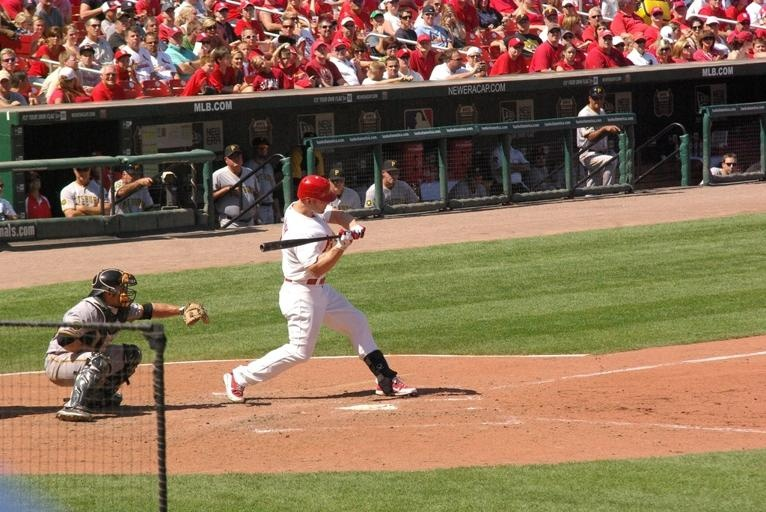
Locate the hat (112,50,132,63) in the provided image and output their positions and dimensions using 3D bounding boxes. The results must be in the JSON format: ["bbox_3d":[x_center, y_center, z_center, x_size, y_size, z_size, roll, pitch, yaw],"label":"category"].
[{"bbox_3d":[-4.438,-3.405,29.557,0.253,0.211,0.283,-3,2,-1],"label":"hat"}]

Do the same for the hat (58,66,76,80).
[{"bbox_3d":[-5.211,-3.054,28.769,0.284,0.189,0.223,-4,2,-18],"label":"hat"}]

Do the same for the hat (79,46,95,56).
[{"bbox_3d":[-5.056,-3.537,29.627,0.232,0.178,0.332,-4,2,-11],"label":"hat"}]

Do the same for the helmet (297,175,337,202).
[{"bbox_3d":[-0.896,-0.873,22.344,0.378,0.359,0.482,-3,2,4],"label":"helmet"}]

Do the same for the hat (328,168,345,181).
[{"bbox_3d":[-0.828,-1.406,29.457,0.424,0.185,0.585,0,9,-6],"label":"hat"}]

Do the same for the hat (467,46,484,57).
[{"bbox_3d":[1.672,-3.830,32.114,0.225,0.214,0.291,1,0,-6],"label":"hat"}]

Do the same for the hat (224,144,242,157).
[{"bbox_3d":[-2.556,-1.814,29.421,0.282,0.212,0.395,-3,2,-5],"label":"hat"}]

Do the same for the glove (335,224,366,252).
[{"bbox_3d":[-0.462,-0.280,22.133,0.311,0.111,0.307,-37,-14,11],"label":"glove"}]

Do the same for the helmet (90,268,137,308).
[{"bbox_3d":[-3.484,0.381,22.204,0.581,0.415,0.447,-8,11,-20],"label":"helmet"}]

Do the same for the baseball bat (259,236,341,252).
[{"bbox_3d":[-1.036,-0.170,22.222,1.224,0.133,0.138,-7,-6,-28],"label":"baseball bat"}]

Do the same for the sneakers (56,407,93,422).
[{"bbox_3d":[-3.858,1.994,21.789,0.348,0.112,0.198,11,6,-32],"label":"sneakers"}]

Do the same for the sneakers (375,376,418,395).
[{"bbox_3d":[0.159,1.689,22.713,0.552,0.223,0.211,0,4,-1],"label":"sneakers"}]

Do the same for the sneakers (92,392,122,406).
[{"bbox_3d":[-3.487,1.817,22.189,0.249,0.083,0.183,1,2,43],"label":"sneakers"}]
